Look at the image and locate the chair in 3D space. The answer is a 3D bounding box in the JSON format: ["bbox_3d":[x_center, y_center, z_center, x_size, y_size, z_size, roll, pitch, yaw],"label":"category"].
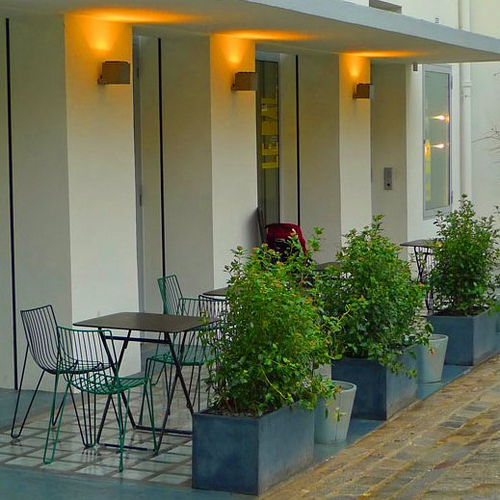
[{"bbox_3d":[-1.008,0.786,4.589,1.095,0.809,1.281,1,3,20],"label":"chair"}]

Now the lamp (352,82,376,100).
[{"bbox_3d":[1.595,-2.239,9.337,0.302,0.290,0.203,0,2,-3],"label":"lamp"}]

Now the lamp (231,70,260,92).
[{"bbox_3d":[-0.059,-1.794,7.130,0.197,0.184,0.223,1,4,7],"label":"lamp"}]

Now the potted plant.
[{"bbox_3d":[0.378,0.556,4.058,0.558,1.342,1.980,0,1,31],"label":"potted plant"}]
